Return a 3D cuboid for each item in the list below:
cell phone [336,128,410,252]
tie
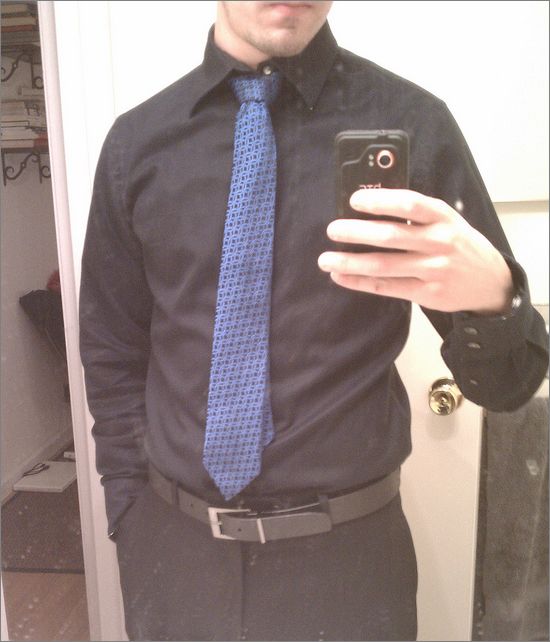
[{"bbox_3d":[0.110,-0.161,0.775,0.082,0.095,0.097,0,37,5],"label":"cell phone"},{"bbox_3d":[-0.033,-0.040,0.874,0.115,0.511,0.052,2,1,-9],"label":"tie"}]
